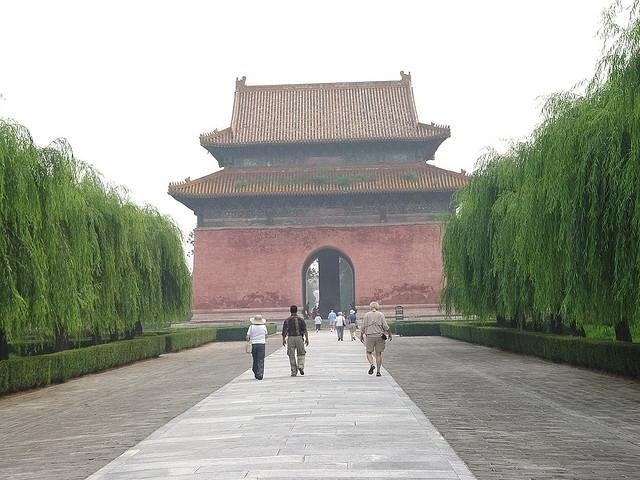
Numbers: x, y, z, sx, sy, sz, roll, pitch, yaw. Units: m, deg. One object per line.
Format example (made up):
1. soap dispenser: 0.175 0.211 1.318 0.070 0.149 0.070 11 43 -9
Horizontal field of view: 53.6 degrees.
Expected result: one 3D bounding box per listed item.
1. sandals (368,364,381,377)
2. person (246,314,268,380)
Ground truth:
1. sandals: 1.219 2.956 14.472 0.149 0.225 0.503 2 -1 -4
2. person: -1.502 2.526 15.188 0.435 1.455 1.846 -1 -7 -6
